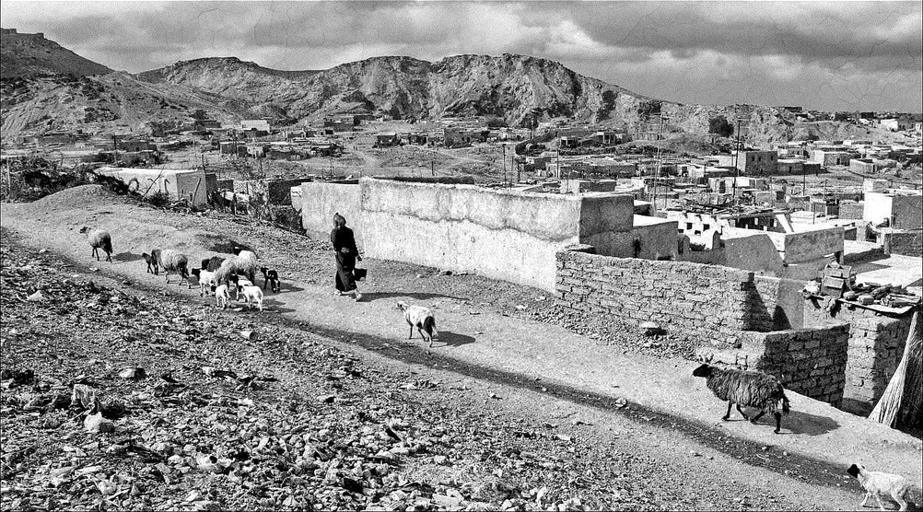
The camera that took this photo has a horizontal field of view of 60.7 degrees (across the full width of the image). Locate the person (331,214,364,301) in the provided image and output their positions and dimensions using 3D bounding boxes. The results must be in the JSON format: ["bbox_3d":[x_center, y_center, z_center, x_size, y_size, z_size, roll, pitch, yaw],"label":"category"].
[{"bbox_3d":[-2.551,0.007,17.452,0.624,1.843,1.081,-1,7,-10],"label":"person"}]

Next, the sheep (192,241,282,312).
[{"bbox_3d":[-4.830,0.548,16.689,1.315,1.100,1.596,-2,7,-22],"label":"sheep"}]

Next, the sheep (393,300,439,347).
[{"bbox_3d":[-0.880,1.345,15.506,0.986,0.717,0.462,5,8,33],"label":"sheep"}]

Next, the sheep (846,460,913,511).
[{"bbox_3d":[6.299,3.496,11.925,0.865,0.594,0.461,3,7,23],"label":"sheep"}]

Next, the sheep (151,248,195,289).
[{"bbox_3d":[-6.400,0.277,17.567,0.572,0.758,1.250,-5,8,-41],"label":"sheep"}]
